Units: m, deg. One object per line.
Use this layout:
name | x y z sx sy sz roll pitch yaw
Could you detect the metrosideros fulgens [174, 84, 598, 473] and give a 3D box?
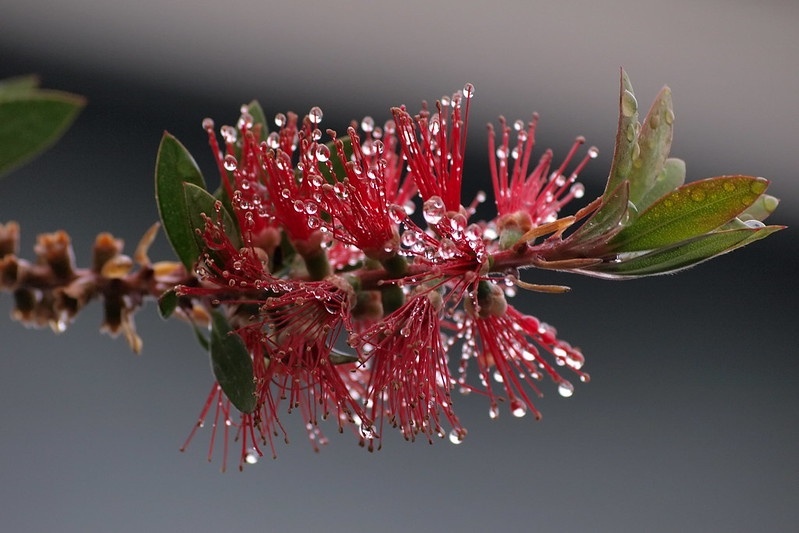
metrosideros fulgens | -0.114 0.050 1.687 0.825 0.534 0.515 -13 -28 29
